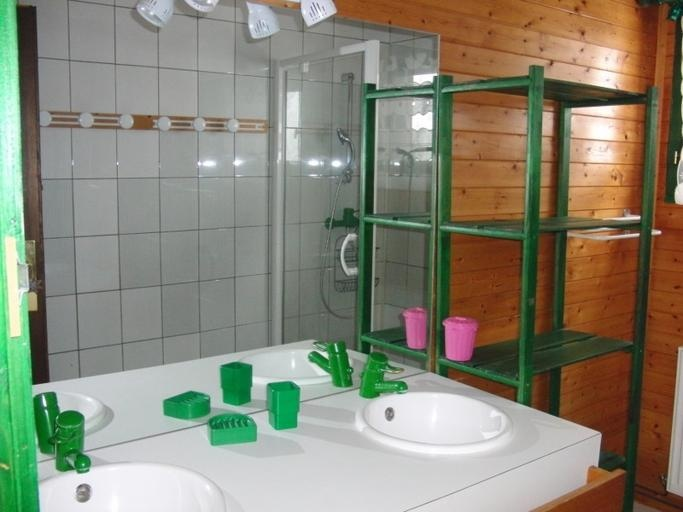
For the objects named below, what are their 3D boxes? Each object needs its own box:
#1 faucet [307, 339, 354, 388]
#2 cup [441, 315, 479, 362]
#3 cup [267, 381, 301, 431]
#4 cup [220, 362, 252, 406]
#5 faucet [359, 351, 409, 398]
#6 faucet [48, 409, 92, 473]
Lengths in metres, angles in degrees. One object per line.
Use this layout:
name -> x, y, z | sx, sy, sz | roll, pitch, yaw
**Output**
faucet -> -0.042, 0.337, 1.724 | 0.076, 0.138, 0.230 | -12, 11, -36
cup -> 0.425, 0.294, 1.889 | 0.163, 0.137, 0.153 | 1, 2, 0
cup -> -0.152, 0.407, 1.421 | 0.102, 0.097, 0.096 | 3, -7, 0
cup -> -0.303, 0.371, 1.513 | 0.095, 0.088, 0.088 | 0, -6, 0
faucet -> 0.129, 0.371, 1.587 | 0.158, 0.114, 0.085 | 1, -9, 37
faucet -> -0.592, 0.425, 1.163 | 0.067, 0.126, 0.158 | -3, 11, -39
